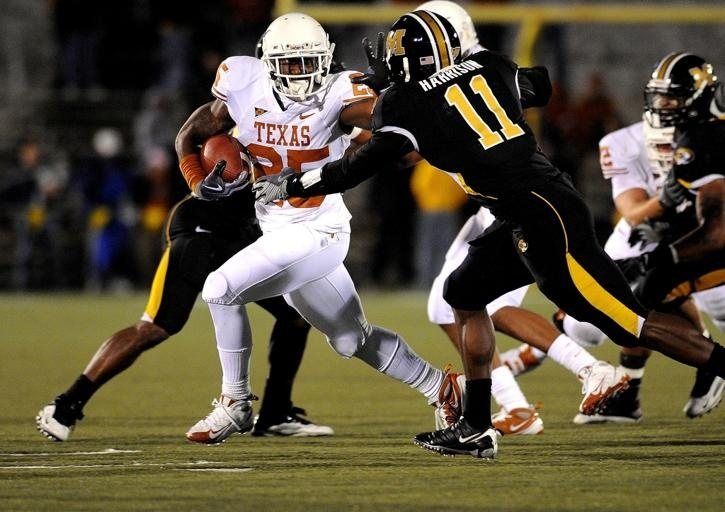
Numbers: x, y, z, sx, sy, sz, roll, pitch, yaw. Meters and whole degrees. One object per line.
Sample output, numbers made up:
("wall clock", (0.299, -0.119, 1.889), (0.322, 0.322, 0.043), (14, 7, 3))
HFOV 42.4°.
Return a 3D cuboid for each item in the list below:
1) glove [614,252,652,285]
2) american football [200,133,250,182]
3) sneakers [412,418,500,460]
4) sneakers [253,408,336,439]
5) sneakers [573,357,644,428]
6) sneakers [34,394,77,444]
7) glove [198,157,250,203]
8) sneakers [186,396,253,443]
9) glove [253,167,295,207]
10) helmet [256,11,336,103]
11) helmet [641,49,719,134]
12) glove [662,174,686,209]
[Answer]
("glove", (1.326, 0.072, 4.530), (0.114, 0.129, 0.100), (45, 8, -6))
("american football", (-0.660, -0.482, 4.529), (0.264, 0.182, 0.159), (35, -9, 44))
("sneakers", (0.457, 0.855, 4.273), (0.432, 0.138, 0.211), (5, 52, 13))
("sneakers", (-0.361, 0.848, 4.730), (0.474, 0.172, 0.153), (-1, -7, 7))
("sneakers", (1.220, 0.682, 4.580), (0.443, 0.142, 0.197), (-28, 63, -16))
("sneakers", (-1.518, 0.797, 4.621), (0.227, 0.182, 0.401), (25, -18, -17))
("glove", (-0.664, -0.364, 4.447), (0.215, 0.129, 0.107), (0, 46, 36))
("sneakers", (-0.698, 0.823, 4.616), (0.289, 0.143, 0.100), (-23, 45, -25))
("glove", (-0.401, -0.304, 4.202), (0.183, 0.070, 0.141), (-16, 47, 30))
("helmet", (-0.329, -0.965, 4.591), (0.378, 0.345, 0.416), (-3, 33, -5))
("helmet", (1.499, -0.799, 4.598), (0.413, 0.328, 0.326), (-8, 10, -8))
("glove", (1.508, -0.306, 4.497), (0.095, 0.107, 0.118), (33, 56, 13))
